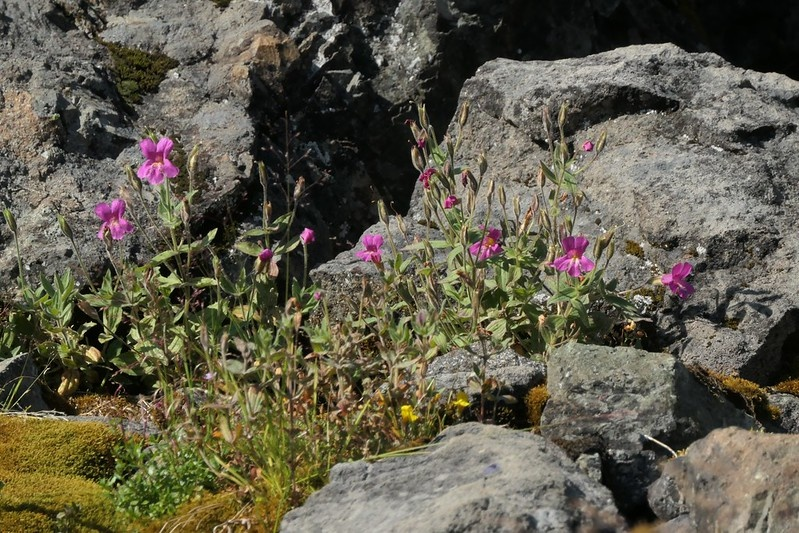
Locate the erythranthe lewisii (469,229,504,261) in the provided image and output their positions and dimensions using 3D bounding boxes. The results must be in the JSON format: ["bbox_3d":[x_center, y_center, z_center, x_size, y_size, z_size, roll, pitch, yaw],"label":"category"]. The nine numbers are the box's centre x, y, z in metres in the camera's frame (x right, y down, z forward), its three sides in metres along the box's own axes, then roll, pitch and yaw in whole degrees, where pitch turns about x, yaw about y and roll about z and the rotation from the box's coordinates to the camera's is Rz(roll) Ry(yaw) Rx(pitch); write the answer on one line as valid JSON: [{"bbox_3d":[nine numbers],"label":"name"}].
[{"bbox_3d":[0.649,-0.179,9.479,0.251,0.240,0.248,6,0,-15],"label":"erythranthe lewisii"}]

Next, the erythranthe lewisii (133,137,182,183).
[{"bbox_3d":[-1.859,-0.814,9.519,0.095,0.538,0.456,13,13,27],"label":"erythranthe lewisii"}]

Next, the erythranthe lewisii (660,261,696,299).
[{"bbox_3d":[2.088,0.064,9.403,0.238,0.150,0.254,13,38,6],"label":"erythranthe lewisii"}]

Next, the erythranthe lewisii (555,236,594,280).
[{"bbox_3d":[1.287,-0.096,9.267,0.289,0.112,0.324,-7,-26,-40],"label":"erythranthe lewisii"}]

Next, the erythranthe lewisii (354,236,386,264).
[{"bbox_3d":[-0.232,-0.155,9.553,0.177,0.225,0.406,5,0,-5],"label":"erythranthe lewisii"}]
